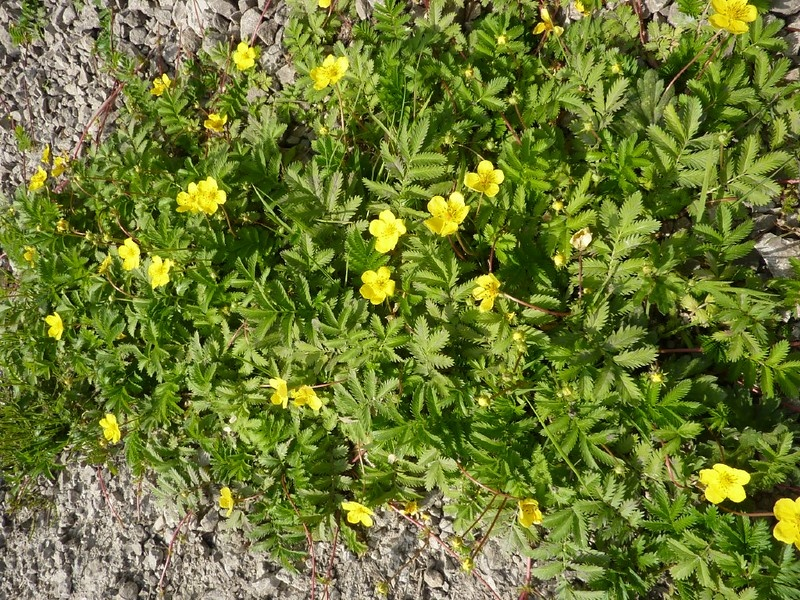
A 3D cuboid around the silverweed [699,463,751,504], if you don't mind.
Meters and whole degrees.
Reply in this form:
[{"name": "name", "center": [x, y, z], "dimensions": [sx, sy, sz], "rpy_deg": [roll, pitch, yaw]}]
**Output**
[{"name": "silverweed", "center": [1.875, 1.062, 4.319], "dimensions": [0.336, 0.300, 0.218], "rpy_deg": [-2, 74, -6]}]
